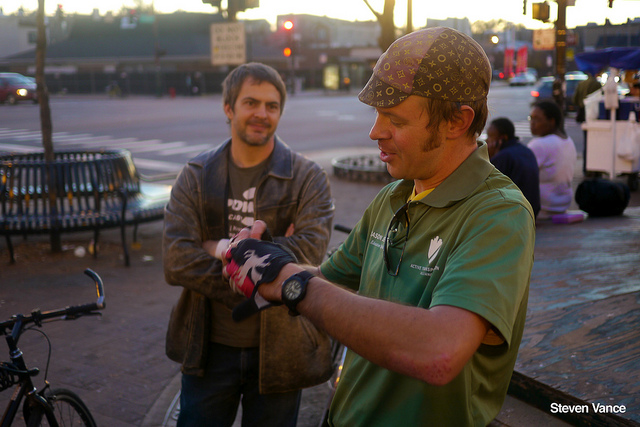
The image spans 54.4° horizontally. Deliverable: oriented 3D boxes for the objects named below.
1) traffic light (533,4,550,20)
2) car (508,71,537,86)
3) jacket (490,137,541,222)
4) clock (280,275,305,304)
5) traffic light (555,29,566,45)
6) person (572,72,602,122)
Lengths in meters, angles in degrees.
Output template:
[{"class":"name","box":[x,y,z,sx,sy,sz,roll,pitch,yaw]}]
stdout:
[{"class":"traffic light","box":[4.969,-4.493,13.865,0.448,0.337,0.125,-2,13,-20]},{"class":"car","box":[22.401,-14.762,68.421,3.693,1.565,1.777,-4,9,-26]},{"class":"jacket","box":[2.898,-0.434,9.191,0.726,1.197,1.023,7,13,20]},{"class":"clock","box":[-0.119,0.418,3.225,0.091,0.154,0.141,23,-19,12]},{"class":"traffic light","box":[4.744,-3.444,12.230,0.255,0.273,0.063,3,0,36]},{"class":"person","box":[6.294,-2.705,14.746,0.451,1.077,1.140,4,13,8]}]
